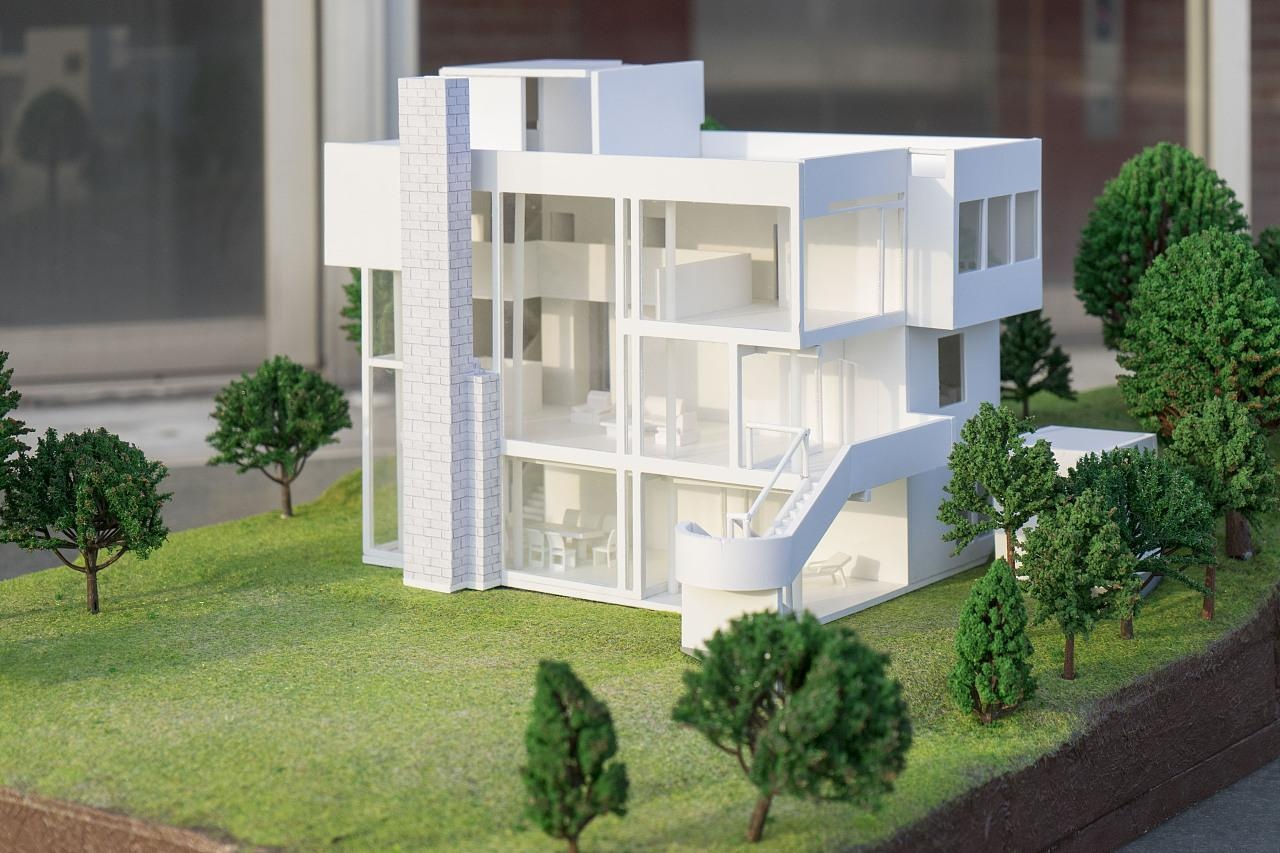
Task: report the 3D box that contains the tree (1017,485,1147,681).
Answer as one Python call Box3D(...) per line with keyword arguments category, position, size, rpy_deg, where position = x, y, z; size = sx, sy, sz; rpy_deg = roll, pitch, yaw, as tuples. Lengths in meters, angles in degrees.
Box3D(category="tree", position=(11.711, 3.932, 43.030), size=(3.257, 5.141, 3.717), rpy_deg=(-7, 3, -2))

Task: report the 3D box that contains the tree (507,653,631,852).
Box3D(category="tree", position=(-1.527, 7.096, 36.341), size=(2.048, 4.046, 0.700), rpy_deg=(-2, 3, -5))

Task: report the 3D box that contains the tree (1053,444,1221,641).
Box3D(category="tree", position=(13.794, 2.222, 45.148), size=(3.440, 4.097, 3.539), rpy_deg=(6, 15, 6))

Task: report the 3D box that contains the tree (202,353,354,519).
Box3D(category="tree", position=(-12.098, 0.063, 55.606), size=(4.542, 5.068, 4.934), rpy_deg=(-6, 15, -12))

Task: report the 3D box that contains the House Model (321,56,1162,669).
Box3D(category="House Model", position=(2.763, -3.501, 54.853), size=(13.509, 16.810, 20.756), rpy_deg=(1, 10, 11))

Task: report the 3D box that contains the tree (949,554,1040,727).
Box3D(category="tree", position=(8.880, 5.196, 41.221), size=(2.740, 3.941, 2.851), rpy_deg=(-1, 4, -23))

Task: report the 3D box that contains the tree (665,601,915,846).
Box3D(category="tree", position=(3.591, 6.255, 36.193), size=(4.543, 4.090, 1.295), rpy_deg=(-1, 3, 11))

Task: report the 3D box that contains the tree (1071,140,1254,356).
Box3D(category="tree", position=(18.037, -7.189, 60.284), size=(4.808, 6.538, 5.391), rpy_deg=(11, -3, -4))

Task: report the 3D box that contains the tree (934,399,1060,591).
Box3D(category="tree", position=(9.630, 1.957, 44.729), size=(3.082, 4.952, 3.280), rpy_deg=(-10, 22, -15))
